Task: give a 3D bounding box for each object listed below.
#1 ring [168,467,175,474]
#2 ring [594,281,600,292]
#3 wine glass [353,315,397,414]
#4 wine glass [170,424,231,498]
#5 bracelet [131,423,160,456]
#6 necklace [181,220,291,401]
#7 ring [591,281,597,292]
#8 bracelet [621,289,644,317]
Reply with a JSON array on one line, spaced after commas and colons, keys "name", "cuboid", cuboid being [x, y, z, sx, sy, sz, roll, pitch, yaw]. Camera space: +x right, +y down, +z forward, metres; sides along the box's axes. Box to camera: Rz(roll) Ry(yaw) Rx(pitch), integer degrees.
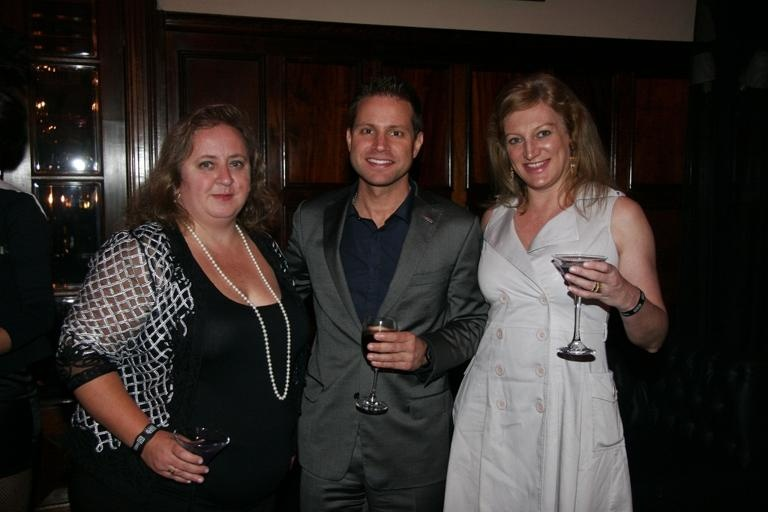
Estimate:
[{"name": "ring", "cuboid": [-0.990, 0.988, 2.879, 0.030, 0.030, 0.011, 13, 23, 19]}, {"name": "ring", "cuboid": [1.026, 0.149, 3.008, 0.016, 0.045, 0.032, 18, -10, 36]}, {"name": "wine glass", "cuboid": [-0.055, 0.578, 3.285, 0.205, 0.524, 0.206, 0, 5, -7]}, {"name": "wine glass", "cuboid": [-0.860, 0.891, 2.880, 0.221, 0.145, 0.223, 6, 3, -32]}, {"name": "bracelet", "cuboid": [-1.124, 0.856, 2.907, 0.071, 0.102, 0.108, 42, 23, 17]}, {"name": "necklace", "cuboid": [-0.781, 0.209, 3.412, 0.082, 1.182, 0.359, -37, -28, 31]}, {"name": "ring", "cuboid": [1.016, 0.147, 2.990, 0.036, 0.045, 0.017, -2, 6, -34]}, {"name": "bracelet", "cuboid": [1.258, 0.237, 3.112, 0.030, 0.118, 0.121, 39, 22, -24]}]
